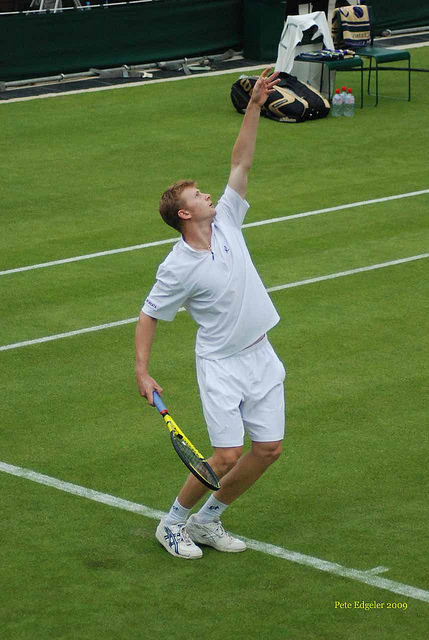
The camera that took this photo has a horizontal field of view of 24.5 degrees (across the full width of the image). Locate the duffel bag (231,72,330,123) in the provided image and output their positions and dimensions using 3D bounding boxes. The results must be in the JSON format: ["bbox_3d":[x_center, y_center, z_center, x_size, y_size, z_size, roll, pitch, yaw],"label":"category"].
[{"bbox_3d":[1.051,-3.741,16.415,1.629,0.660,1.201,28,37,33],"label":"duffel bag"}]

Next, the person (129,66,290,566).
[{"bbox_3d":[-0.009,0.058,4.963,0.815,2.401,0.659,-4,10,-18],"label":"person"}]

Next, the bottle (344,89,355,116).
[{"bbox_3d":[2.230,-3.589,16.326,0.156,0.440,0.410,1,9,8],"label":"bottle"}]

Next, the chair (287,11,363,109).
[{"bbox_3d":[1.798,-4.288,16.408,1.204,1.534,1.110,-12,26,-13],"label":"chair"}]

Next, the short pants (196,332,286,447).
[{"bbox_3d":[0.147,0.352,4.945,0.448,0.524,0.323,-2,9,-7],"label":"short pants"}]

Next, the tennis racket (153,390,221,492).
[{"bbox_3d":[-0.131,0.582,4.659,0.279,0.428,0.437,-2,9,-8],"label":"tennis racket"}]
